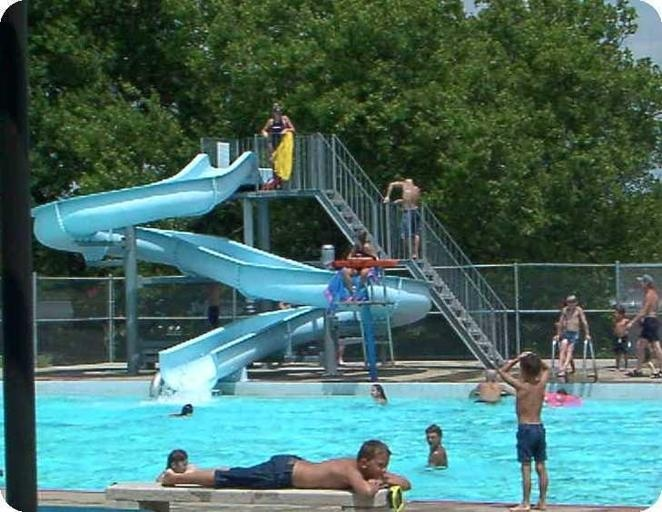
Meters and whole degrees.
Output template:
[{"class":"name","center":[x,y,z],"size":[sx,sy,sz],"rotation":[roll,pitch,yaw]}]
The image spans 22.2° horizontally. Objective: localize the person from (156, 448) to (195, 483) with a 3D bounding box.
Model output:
[{"class":"person","center":[-2.953,3.940,32.279],"size":[0.564,0.551,0.862],"rotation":[-5,-8,4]}]

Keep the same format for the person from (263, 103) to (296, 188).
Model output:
[{"class":"person","center":[-1.315,-2.802,42.490],"size":[0.797,2.130,0.355],"rotation":[-1,-2,-1]}]

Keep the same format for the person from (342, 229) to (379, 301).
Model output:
[{"class":"person","center":[0.660,0.125,39.204],"size":[0.775,1.613,1.114],"rotation":[-1,-2,1]}]

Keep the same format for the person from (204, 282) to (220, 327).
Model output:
[{"class":"person","center":[-2.975,1.212,42.680],"size":[0.257,1.129,0.717],"rotation":[-1,-2,-7]}]

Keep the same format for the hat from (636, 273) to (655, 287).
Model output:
[{"class":"hat","center":[7.235,0.532,39.140],"size":[0.435,0.219,0.296],"rotation":[10,13,40]}]

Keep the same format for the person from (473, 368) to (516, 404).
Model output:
[{"class":"person","center":[3.631,2.964,37.993],"size":[0.993,0.696,1.228],"rotation":[-2,24,15]}]

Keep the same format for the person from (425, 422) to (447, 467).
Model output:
[{"class":"person","center":[2.146,3.812,34.216],"size":[0.394,0.892,0.886],"rotation":[-1,-3,4]}]
